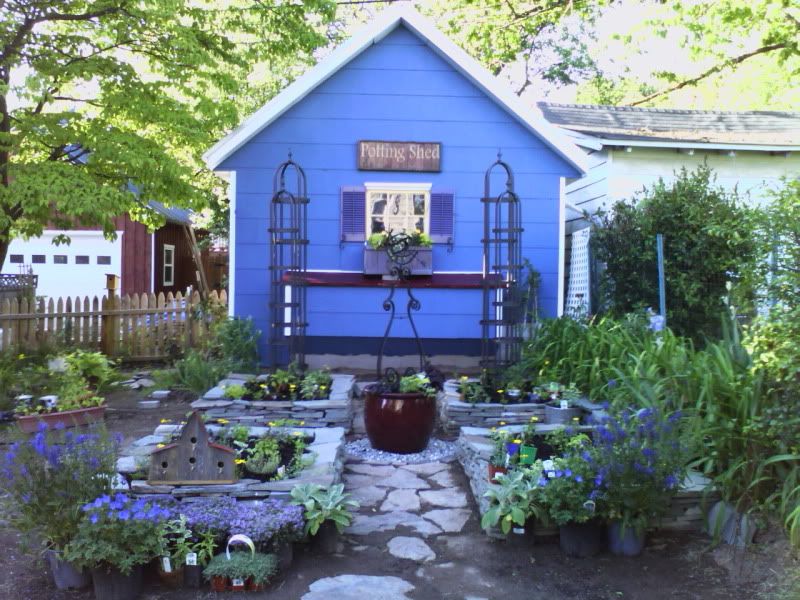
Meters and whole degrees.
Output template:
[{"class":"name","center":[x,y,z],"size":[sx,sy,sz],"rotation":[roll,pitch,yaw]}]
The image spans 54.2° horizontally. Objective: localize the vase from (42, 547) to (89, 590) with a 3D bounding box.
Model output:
[{"class":"vase","center":[-2.797,2.198,6.493],"size":[0.301,0.270,0.326],"rotation":[0,-6,3]}]

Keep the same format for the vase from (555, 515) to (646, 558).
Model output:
[{"class":"vase","center":[1.785,2.110,6.929],"size":[0.530,0.240,0.390],"rotation":[1,-6,4]}]

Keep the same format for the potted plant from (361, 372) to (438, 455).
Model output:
[{"class":"potted plant","center":[0.001,1.307,9.105],"size":[0.793,0.853,0.848],"rotation":[0,3,-5]}]

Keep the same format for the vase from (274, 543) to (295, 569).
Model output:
[{"class":"vase","center":[-1.000,2.184,6.708],"size":[0.155,0.191,0.180],"rotation":[-2,-8,23]}]

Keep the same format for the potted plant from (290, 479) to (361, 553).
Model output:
[{"class":"potted plant","center":[-0.673,1.926,7.085],"size":[0.548,0.449,0.609],"rotation":[-2,0,18]}]

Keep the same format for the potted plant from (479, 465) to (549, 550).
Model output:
[{"class":"potted plant","center":[1.060,1.821,7.005],"size":[0.565,0.450,0.610],"rotation":[-2,-3,4]}]

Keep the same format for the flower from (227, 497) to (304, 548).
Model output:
[{"class":"flower","center":[-1.142,1.877,6.672],"size":[0.385,0.242,0.413],"rotation":[4,2,21]}]

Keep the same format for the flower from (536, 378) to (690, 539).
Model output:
[{"class":"flower","center":[1.930,1.422,7.211],"size":[1.068,0.870,1.107],"rotation":[-10,-6,0]}]
